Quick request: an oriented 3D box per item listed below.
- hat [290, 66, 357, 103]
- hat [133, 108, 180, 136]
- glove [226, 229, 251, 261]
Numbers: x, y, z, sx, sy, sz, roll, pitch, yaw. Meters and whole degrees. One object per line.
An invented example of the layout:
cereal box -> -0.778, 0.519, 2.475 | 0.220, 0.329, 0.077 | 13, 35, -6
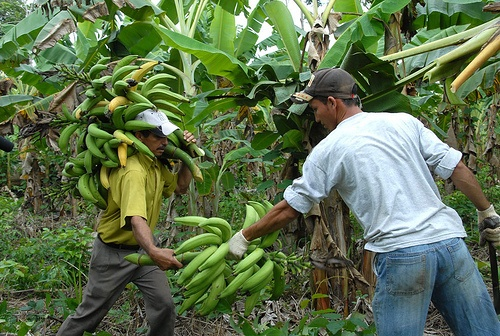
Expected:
hat -> 0.709, -0.751, 3.621 | 0.451, 0.242, 0.293 | 5, 9, 9
hat -> -0.950, -0.478, 4.132 | 0.385, 0.220, 0.244 | 24, 20, 2
glove -> -0.105, 0.720, 3.747 | 0.205, 0.263, 0.088 | 20, 3, 20
